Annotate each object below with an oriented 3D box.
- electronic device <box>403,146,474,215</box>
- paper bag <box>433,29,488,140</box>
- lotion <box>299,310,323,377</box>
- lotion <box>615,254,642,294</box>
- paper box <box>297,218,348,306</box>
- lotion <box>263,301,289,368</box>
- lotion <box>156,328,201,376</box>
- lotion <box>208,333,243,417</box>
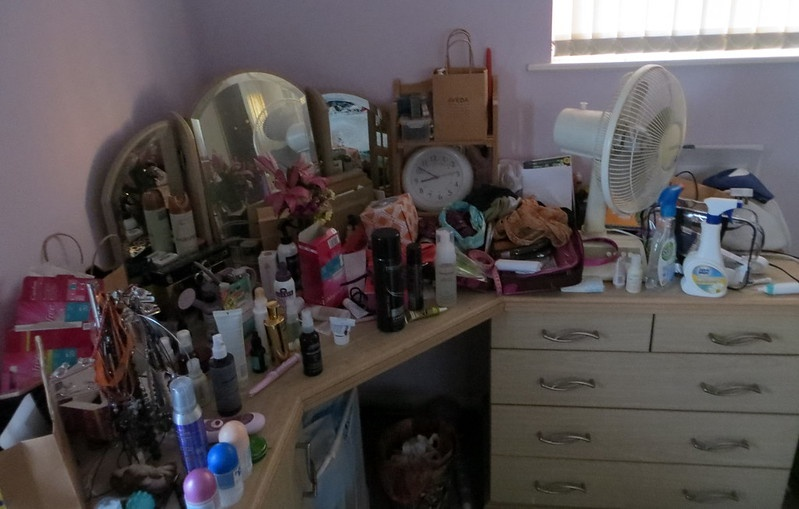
[{"bbox_3d":[0.164,-0.326,2.487,0.303,0.306,0.092,0,13,0],"label":"electronic device"},{"bbox_3d":[0.265,-0.708,2.430,0.233,0.426,0.150,3,16,20],"label":"paper bag"},{"bbox_3d":[-0.296,0.287,1.898,0.070,0.226,0.063,-9,16,-16],"label":"lotion"},{"bbox_3d":[0.881,0.061,2.206,0.107,0.142,0.123,2,16,21],"label":"lotion"},{"bbox_3d":[-0.296,0.038,2.138,0.110,0.318,0.201,6,31,24],"label":"paper box"},{"bbox_3d":[-0.417,0.263,1.935,0.070,0.216,0.041,-8,16,-14],"label":"lotion"},{"bbox_3d":[-0.698,0.300,1.823,0.104,0.178,0.166,-10,17,-21],"label":"lotion"},{"bbox_3d":[-0.547,0.373,1.785,0.078,0.261,0.077,-9,18,-15],"label":"lotion"}]
